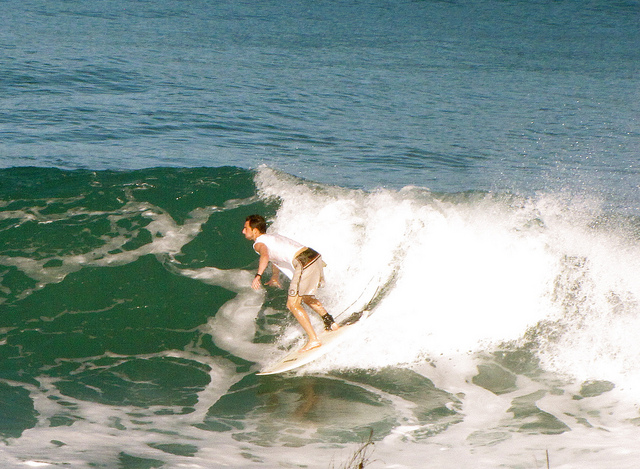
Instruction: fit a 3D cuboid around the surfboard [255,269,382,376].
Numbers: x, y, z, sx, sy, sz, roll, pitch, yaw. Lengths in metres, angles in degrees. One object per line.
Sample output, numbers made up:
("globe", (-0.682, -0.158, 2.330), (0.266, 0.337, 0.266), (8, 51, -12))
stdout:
("surfboard", (0.242, 2.055, 20.776), (1.174, 1.886, 2.745), (24, 23, 24))
